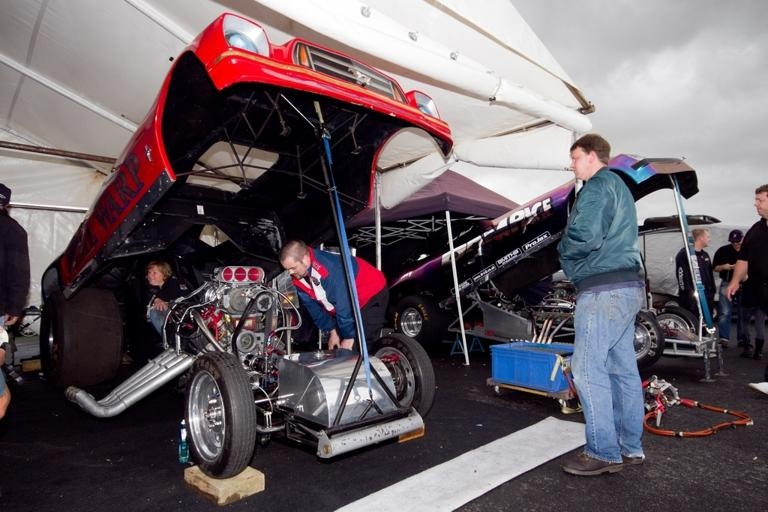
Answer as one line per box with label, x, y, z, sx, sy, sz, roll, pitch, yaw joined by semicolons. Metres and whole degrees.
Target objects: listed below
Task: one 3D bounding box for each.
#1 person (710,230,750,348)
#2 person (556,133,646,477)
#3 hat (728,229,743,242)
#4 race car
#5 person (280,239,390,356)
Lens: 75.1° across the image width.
person;6.956;0.619;9.931;0.804;2.229;0.737;4;-4;-40
person;2.146;0.366;5.029;1.001;3.297;1.227;-4;-8;35
hat;6.998;-0.395;9.864;0.216;0.169;0.306;-6;11;40
race car;-0.694;-0.416;7.184;7.593;5.478;5.745;-1;1;-38
person;-0.538;0.491;5.819;1.196;1.413;0.804;-16;21;-28
